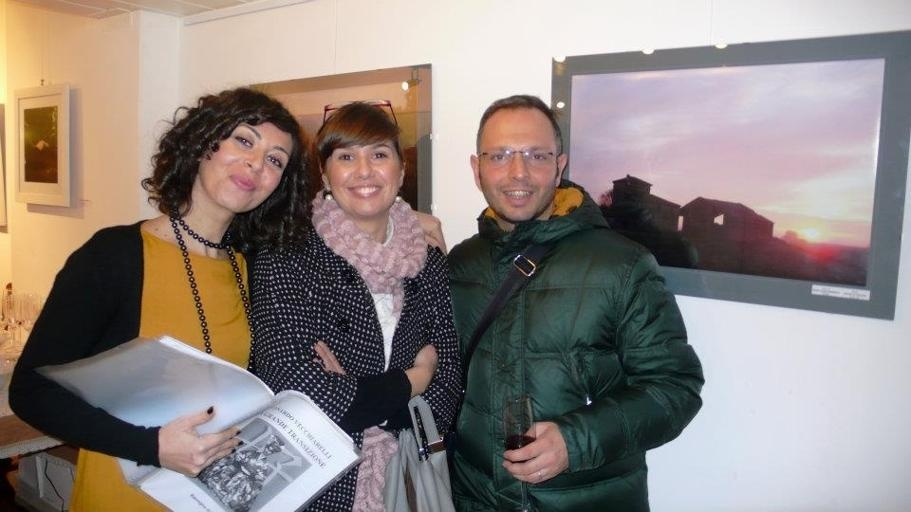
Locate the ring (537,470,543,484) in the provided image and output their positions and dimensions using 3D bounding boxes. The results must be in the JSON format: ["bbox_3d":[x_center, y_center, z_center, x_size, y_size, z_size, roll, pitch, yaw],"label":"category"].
[{"bbox_3d":[0.410,1.067,3.060,0.031,0.039,0.010,-8,-1,-15],"label":"ring"}]

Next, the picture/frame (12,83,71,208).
[{"bbox_3d":[-3.864,-1.062,5.967,1.271,1.278,0.096,5,7,31],"label":"picture/frame"}]
